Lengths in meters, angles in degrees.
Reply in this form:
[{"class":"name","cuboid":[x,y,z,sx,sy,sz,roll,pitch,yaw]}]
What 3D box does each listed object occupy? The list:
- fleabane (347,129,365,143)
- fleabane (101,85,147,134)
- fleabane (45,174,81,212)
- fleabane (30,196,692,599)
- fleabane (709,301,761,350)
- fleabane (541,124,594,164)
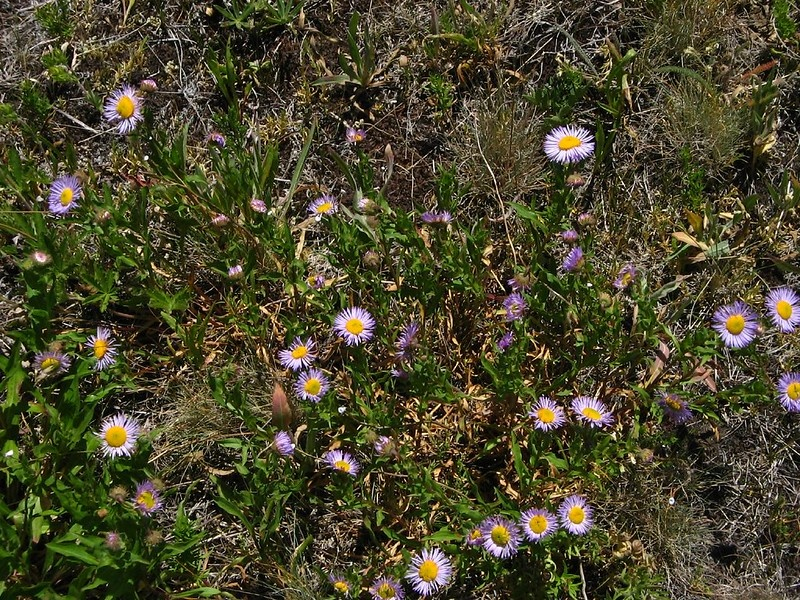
[{"class":"fleabane","cuboid":[-0.223,-0.830,3.686,0.077,0.050,0.079,21,59,26]},{"class":"fleabane","cuboid":[-1.289,-0.923,3.370,0.197,0.221,0.103,-20,80,-16]},{"class":"fleabane","cuboid":[-1.534,-0.485,3.291,0.148,0.064,0.176,-24,65,15]},{"class":"fleabane","cuboid":[-0.169,0.476,3.132,1.443,0.760,1.625,2,86,6]},{"class":"fleabane","cuboid":[1.384,0.094,2.969,0.177,0.079,0.209,-18,37,12]},{"class":"fleabane","cuboid":[0.746,-0.684,3.191,0.177,0.079,0.191,-31,56,-17]}]
